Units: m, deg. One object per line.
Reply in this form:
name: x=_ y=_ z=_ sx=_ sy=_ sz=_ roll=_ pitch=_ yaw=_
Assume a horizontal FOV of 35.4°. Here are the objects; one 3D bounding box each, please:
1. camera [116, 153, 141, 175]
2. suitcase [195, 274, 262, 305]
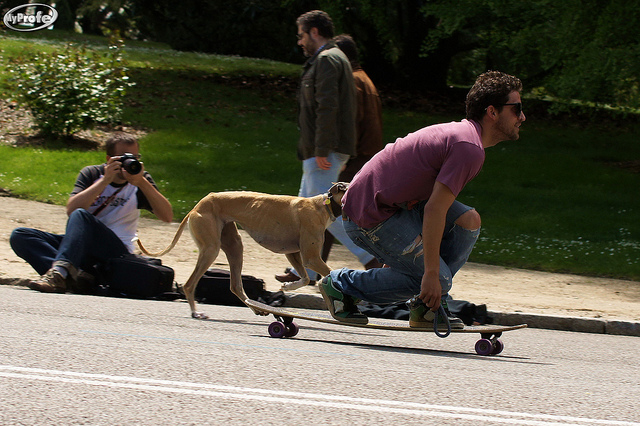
camera: x=-3.041 y=-0.771 z=15.830 sx=0.273 sy=0.318 sz=0.289 roll=-2 pitch=13 yaw=-38
suitcase: x=-1.606 y=1.261 z=16.325 sx=1.277 sy=0.470 sz=1.224 roll=0 pitch=0 yaw=2
